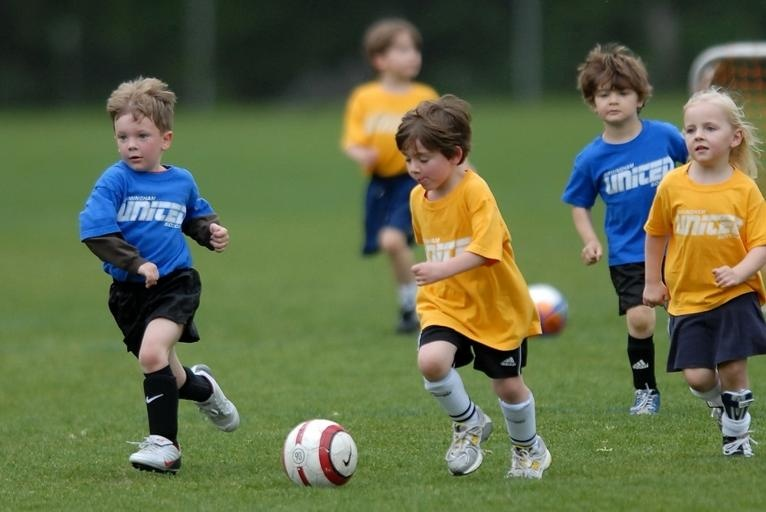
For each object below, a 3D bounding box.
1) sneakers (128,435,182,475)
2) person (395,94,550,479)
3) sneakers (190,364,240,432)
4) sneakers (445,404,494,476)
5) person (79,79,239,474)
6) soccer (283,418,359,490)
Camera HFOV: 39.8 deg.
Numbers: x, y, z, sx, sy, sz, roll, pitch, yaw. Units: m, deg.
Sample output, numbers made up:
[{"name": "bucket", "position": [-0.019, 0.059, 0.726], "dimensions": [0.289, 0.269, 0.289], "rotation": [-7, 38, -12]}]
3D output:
[{"name": "sneakers", "position": [-1.422, 1.258, 6.721], "dimensions": [0.363, 0.162, 0.177], "rotation": [19, -19, -23]}, {"name": "person", "position": [0.583, 0.189, 6.608], "dimensions": [0.890, 2.331, 0.691], "rotation": [-3, 12, 1]}, {"name": "sneakers", "position": [-1.193, 1.024, 7.513], "dimensions": [0.170, 0.465, 0.194], "rotation": [-44, 2, 23]}, {"name": "sneakers", "position": [0.518, 1.140, 6.683], "dimensions": [0.214, 0.220, 0.474], "rotation": [-11, 41, 37]}, {"name": "person", "position": [-1.498, 0.099, 6.864], "dimensions": [0.645, 2.461, 0.933], "rotation": [4, 14, 32]}, {"name": "soccer", "position": [-0.374, 1.214, 6.571], "dimensions": [0.443, 0.402, 0.375], "rotation": [2, -37, -2]}]
